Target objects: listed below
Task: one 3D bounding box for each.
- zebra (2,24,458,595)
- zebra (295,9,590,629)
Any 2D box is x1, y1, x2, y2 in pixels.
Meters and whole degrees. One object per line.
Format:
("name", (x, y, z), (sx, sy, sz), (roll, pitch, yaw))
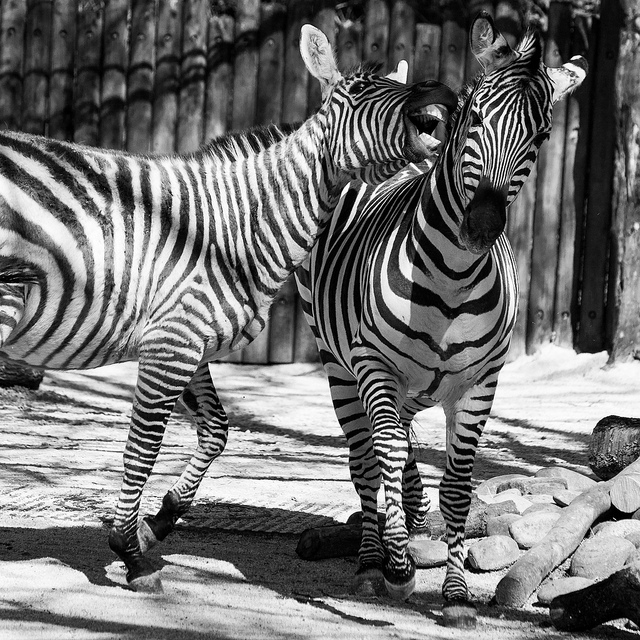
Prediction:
("zebra", (-0.517, -0.117, 5.124), (1.649, 2.061, 0.579), (7, 1, -12))
("zebra", (0.474, 0.090, 5.671), (0.740, 2.545, 3.077), (2, 3, -3))
